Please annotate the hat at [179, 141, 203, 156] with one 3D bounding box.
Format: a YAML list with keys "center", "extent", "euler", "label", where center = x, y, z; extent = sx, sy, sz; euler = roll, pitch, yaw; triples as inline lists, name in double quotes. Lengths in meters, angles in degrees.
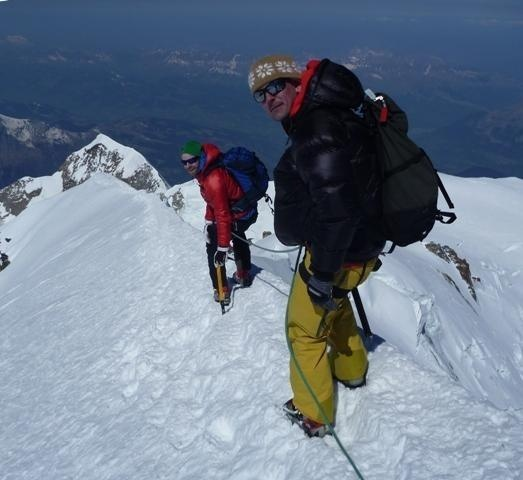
- center: [-1.243, -1.606, 10.815]
  extent: [0.240, 0.206, 0.339]
  euler: [16, 16, 36]
  label: "hat"

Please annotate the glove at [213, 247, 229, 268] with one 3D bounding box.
- center: [-0.724, 0.314, 11.052]
  extent: [0.128, 0.325, 0.256]
  euler: [14, 7, -43]
  label: "glove"

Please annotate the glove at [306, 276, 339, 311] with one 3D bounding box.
- center: [0.755, 0.691, 7.898]
  extent: [0.321, 0.377, 0.239]
  euler: [32, 67, 23]
  label: "glove"
